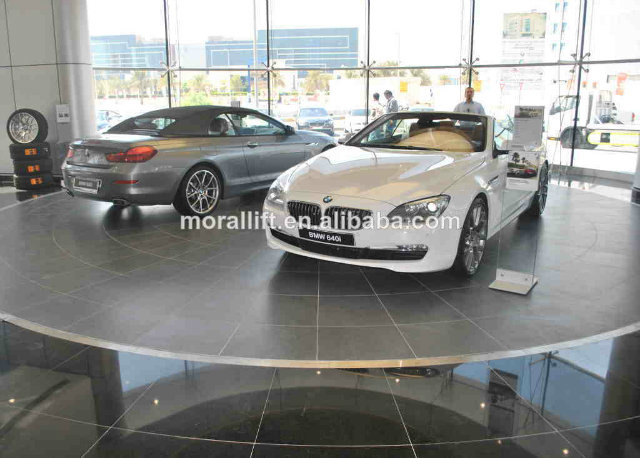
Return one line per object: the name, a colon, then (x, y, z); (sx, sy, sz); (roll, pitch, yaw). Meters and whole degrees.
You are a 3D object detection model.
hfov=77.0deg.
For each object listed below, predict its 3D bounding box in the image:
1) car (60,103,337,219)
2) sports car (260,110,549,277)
car: (-1.755, -1.117, 6.718); (1.757, 1.107, 3.831); (11, 18, 40)
sports car: (1.382, -0.479, 4.683); (1.740, 0.996, 3.271); (7, 17, 35)
